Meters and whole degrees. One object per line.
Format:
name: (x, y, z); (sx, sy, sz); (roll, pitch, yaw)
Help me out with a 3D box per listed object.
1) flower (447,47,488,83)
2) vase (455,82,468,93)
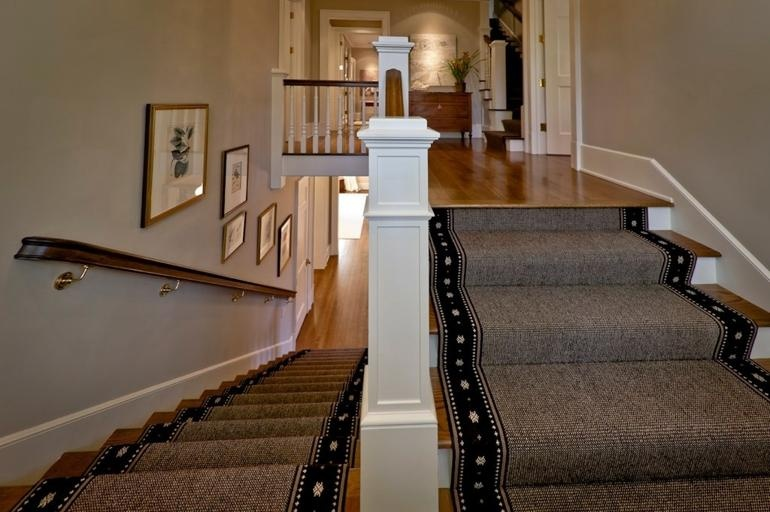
flower: (1.377, -3.311, 8.981); (0.596, 0.505, 0.658); (2, 30, 10)
vase: (1.300, -2.870, 8.876); (0.193, 0.148, 0.199); (0, 14, 4)
